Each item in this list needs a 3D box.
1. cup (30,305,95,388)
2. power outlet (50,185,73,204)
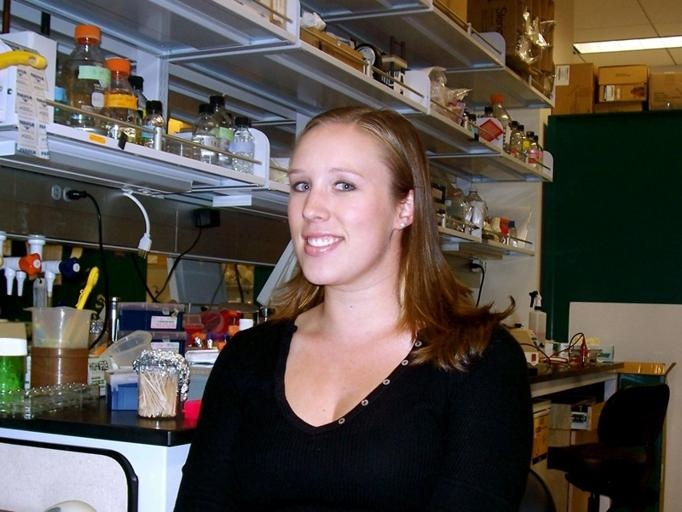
[{"bbox_3d":[-0.866,0.296,2.134,0.276,0.300,0.221,3,-11,-18],"label":"cup"},{"bbox_3d":[-1.025,-0.230,2.342,0.018,0.049,0.079,3,4,33],"label":"power outlet"}]
